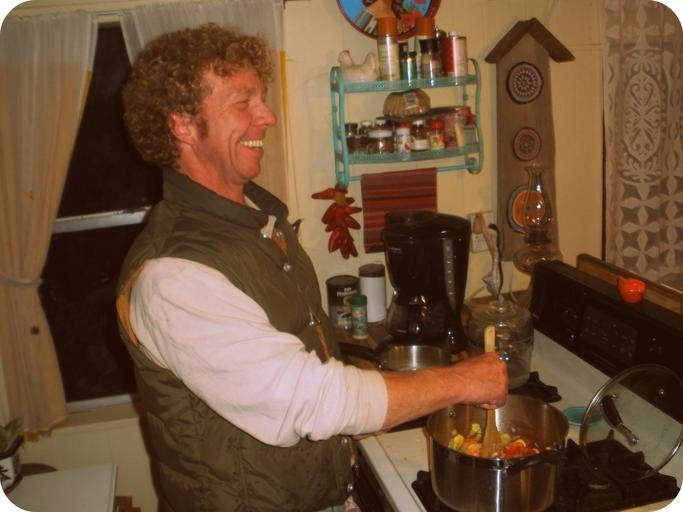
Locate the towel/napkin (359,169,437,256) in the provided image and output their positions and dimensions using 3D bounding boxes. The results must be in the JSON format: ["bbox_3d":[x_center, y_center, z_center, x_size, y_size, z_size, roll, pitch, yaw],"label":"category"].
[{"bbox_3d":[0.249,-0.209,2.606,0.358,0.354,0.047,-6,12,-9],"label":"towel/napkin"}]

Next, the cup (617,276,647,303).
[{"bbox_3d":[0.917,0.108,1.925,0.072,0.075,0.080,2,-2,14],"label":"cup"}]

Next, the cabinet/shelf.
[{"bbox_3d":[0.258,-0.587,2.611,0.548,0.453,0.183,-5,4,-10],"label":"cabinet/shelf"}]

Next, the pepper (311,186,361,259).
[{"bbox_3d":[0.001,-0.153,2.811,0.205,0.331,0.110,5,21,14],"label":"pepper"}]

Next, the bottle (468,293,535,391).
[{"bbox_3d":[0.511,0.303,2.048,0.205,0.275,0.283,-2,6,1],"label":"bottle"}]

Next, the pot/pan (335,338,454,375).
[{"bbox_3d":[0.204,0.351,2.177,0.382,0.054,0.158,1,1,4],"label":"pot/pan"}]

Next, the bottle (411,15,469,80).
[{"bbox_3d":[0.407,-0.851,2.497,0.290,0.311,0.169,-2,10,-2],"label":"bottle"}]
